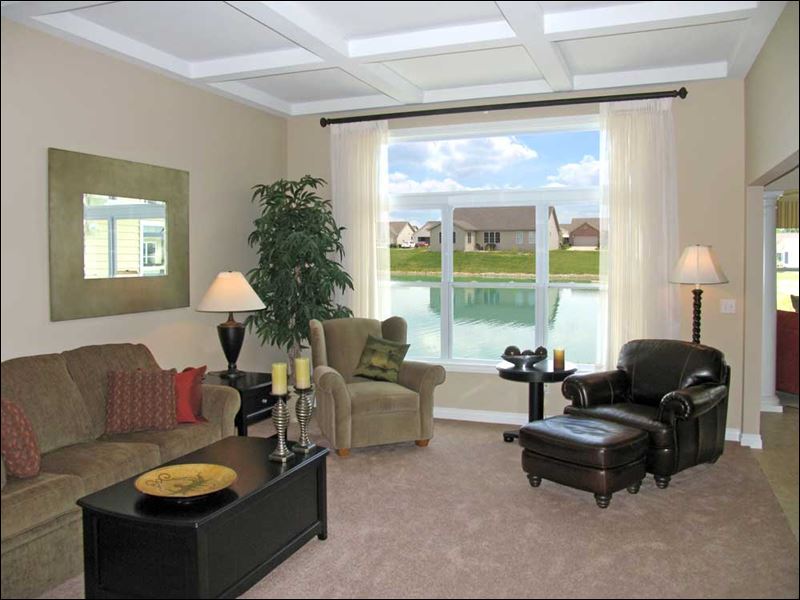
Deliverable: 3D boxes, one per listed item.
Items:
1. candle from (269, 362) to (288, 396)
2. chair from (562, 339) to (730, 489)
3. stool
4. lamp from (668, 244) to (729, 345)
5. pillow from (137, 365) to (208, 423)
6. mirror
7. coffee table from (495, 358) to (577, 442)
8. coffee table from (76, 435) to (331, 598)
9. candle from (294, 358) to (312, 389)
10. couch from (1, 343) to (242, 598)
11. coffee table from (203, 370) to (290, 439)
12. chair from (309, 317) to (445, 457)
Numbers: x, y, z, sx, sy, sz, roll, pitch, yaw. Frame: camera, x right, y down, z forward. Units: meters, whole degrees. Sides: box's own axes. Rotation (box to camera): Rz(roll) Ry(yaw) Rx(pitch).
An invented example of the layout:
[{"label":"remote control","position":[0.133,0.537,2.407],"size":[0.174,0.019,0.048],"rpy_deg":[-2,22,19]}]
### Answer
[{"label":"candle","position":[-0.772,0.509,3.671],"size":[0.090,0.251,0.165],"rpy_deg":[-2,8,-9]},{"label":"chair","position":[2.113,0.909,4.984],"size":[1.243,1.003,1.269],"rpy_deg":[1,5,35]},{"label":"stool","position":[1.467,1.244,4.556],"size":[0.680,0.504,0.828],"rpy_deg":[-7,4,-38]},{"label":"lamp","position":[2.802,-0.047,5.400],"size":[0.437,0.942,0.503],"rpy_deg":[4,9,29]},{"label":"pillow","position":[-1.779,0.748,4.465],"size":[0.434,0.422,0.146],"rpy_deg":[-1,-18,-39]},{"label":"mirror","position":[-2.432,-0.572,4.886],"size":[0.056,1.482,1.685],"rpy_deg":[0,0,27]},{"label":"coffee table","position":[1.288,1.001,5.473],"size":[0.702,0.701,0.689],"rpy_deg":[2,-5,-44]},{"label":"coffee table","position":[-1.175,0.961,3.280],"size":[0.694,0.554,1.224],"rpy_deg":[2,3,23]},{"label":"candle","position":[-0.636,0.469,3.765],"size":[0.091,0.208,0.161],"rpy_deg":[-3,8,-14]},{"label":"couch","position":[-1.787,1.071,3.570],"size":[0.630,0.725,1.434],"rpy_deg":[1,4,16]},{"label":"coffee table","position":[-1.408,0.991,5.344],"size":[0.584,0.430,0.591],"rpy_deg":[3,-6,19]},{"label":"chair","position":[-0.325,0.776,5.706],"size":[1.185,1.221,1.098],"rpy_deg":[0,0,-23]}]
